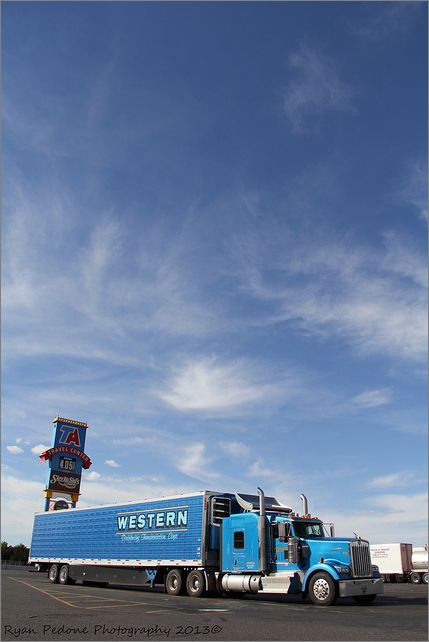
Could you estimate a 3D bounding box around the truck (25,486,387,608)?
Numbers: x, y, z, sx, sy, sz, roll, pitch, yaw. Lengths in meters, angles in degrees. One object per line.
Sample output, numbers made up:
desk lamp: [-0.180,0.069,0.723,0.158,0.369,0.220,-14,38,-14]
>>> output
truck: [-1.388,9.735,21.043,15.979,3.725,3.781,-20,-34,35]
